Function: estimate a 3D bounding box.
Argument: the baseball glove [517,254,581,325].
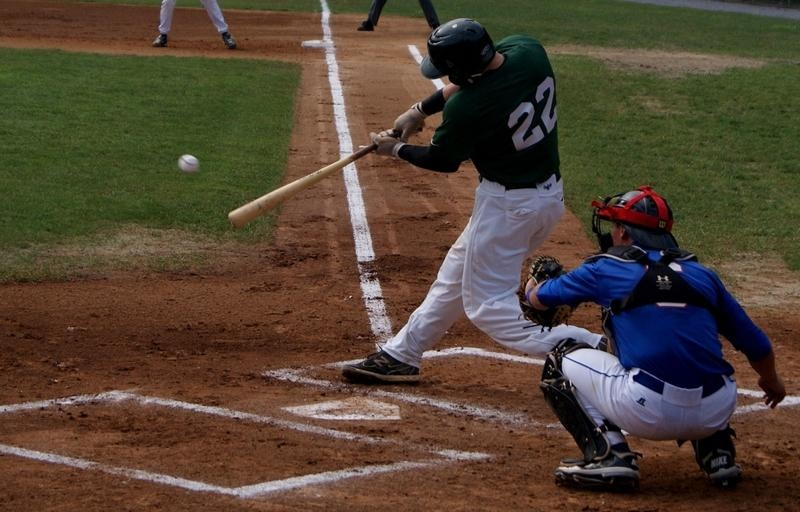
[{"bbox_3d":[1.381,0.341,10.654,0.680,0.613,0.296,-14,-21,24],"label":"baseball glove"}]

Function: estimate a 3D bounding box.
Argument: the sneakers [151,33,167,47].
[{"bbox_3d":[-4.277,-3.864,19.656,0.254,0.240,0.244,2,18,-13],"label":"sneakers"}]

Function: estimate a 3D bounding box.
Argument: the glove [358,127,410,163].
[{"bbox_3d":[-0.140,-1.164,11.297,0.540,0.129,0.425,-1,19,-18],"label":"glove"}]

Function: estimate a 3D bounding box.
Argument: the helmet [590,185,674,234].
[{"bbox_3d":[2.139,-0.443,10.333,0.522,0.274,0.696,10,8,-45],"label":"helmet"}]
